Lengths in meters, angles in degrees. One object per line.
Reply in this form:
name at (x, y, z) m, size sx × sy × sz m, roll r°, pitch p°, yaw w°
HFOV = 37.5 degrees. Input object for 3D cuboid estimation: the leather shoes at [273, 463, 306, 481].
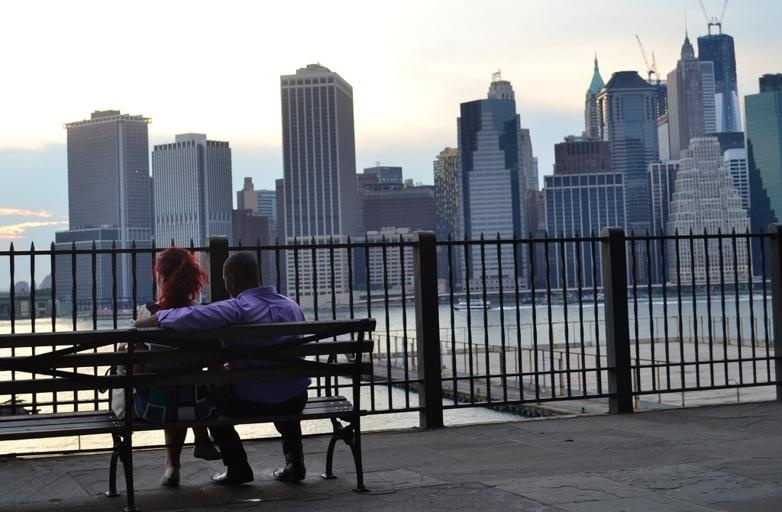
leather shoes at (-0.959, 2.106, 11.156) m, size 0.131 × 0.164 × 0.382 m, roll -1°, pitch 4°, yaw -45°

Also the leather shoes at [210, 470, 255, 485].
leather shoes at (-1.512, 2.128, 11.072) m, size 0.404 × 0.128 × 0.143 m, roll 3°, pitch -4°, yaw 7°

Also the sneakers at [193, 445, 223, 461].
sneakers at (-1.763, 1.908, 11.166) m, size 0.332 × 0.194 × 0.121 m, roll 0°, pitch 1°, yaw -5°
